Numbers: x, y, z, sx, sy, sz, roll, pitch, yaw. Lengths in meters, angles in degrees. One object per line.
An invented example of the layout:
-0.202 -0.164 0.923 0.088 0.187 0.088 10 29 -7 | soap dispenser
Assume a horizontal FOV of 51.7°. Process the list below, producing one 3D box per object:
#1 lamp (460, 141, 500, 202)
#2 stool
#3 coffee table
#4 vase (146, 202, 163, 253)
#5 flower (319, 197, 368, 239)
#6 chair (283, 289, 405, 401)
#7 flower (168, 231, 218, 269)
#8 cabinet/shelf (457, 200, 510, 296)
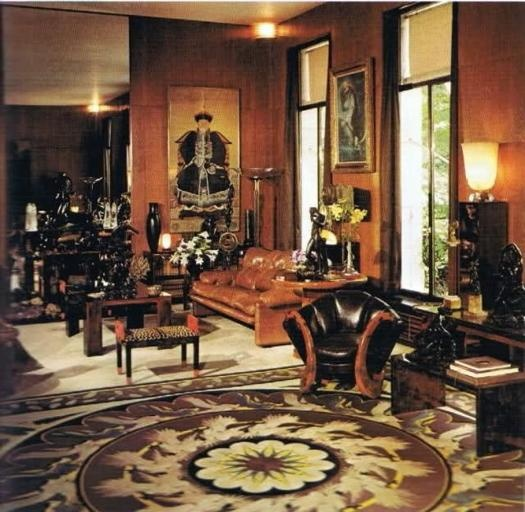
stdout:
1.833 -0.692 4.548 0.311 0.450 0.298 2 -4 -20 | lamp
-0.961 0.722 4.936 0.850 0.566 0.567 -2 1 -25 | stool
-1.686 0.630 6.070 0.922 0.504 0.917 -2 0 -31 | coffee table
-1.646 -0.420 8.135 0.205 0.761 0.375 -2 5 -19 | vase
0.944 -0.434 6.277 0.542 0.457 0.512 -1 6 -7 | flower
0.706 0.700 4.497 0.939 0.734 0.812 0 3 18 | chair
-0.953 -0.071 7.569 0.571 0.412 0.631 0 5 1 | flower
1.723 -0.034 4.198 0.385 0.766 0.287 0 5 11 | cabinet/shelf
